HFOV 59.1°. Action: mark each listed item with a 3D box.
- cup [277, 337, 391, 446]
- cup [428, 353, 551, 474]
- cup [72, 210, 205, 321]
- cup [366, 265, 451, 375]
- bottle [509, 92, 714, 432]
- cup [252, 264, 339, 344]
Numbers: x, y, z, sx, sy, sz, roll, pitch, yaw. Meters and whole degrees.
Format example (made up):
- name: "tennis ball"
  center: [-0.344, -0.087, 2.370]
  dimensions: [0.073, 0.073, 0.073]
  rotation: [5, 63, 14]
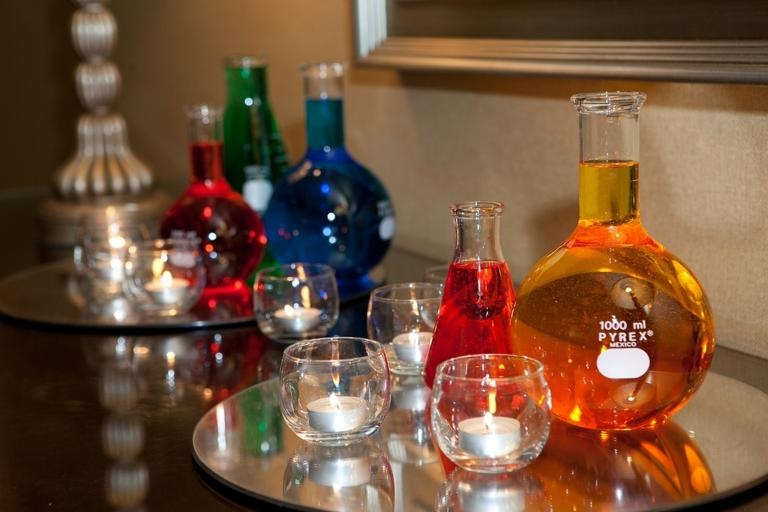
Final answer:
- name: "cup"
  center: [-0.051, 0.143, 0.718]
  dimensions: [0.127, 0.090, 0.122]
  rotation: [1, 6, 0]
- name: "cup"
  center: [0.095, 0.147, 0.622]
  dimensions: [0.101, 0.098, 0.081]
  rotation: [-6, 16, -18]
- name: "cup"
  center: [-0.411, -0.006, 1.109]
  dimensions: [0.149, 0.098, 0.247]
  rotation: [-8, 17, -31]
- name: "cup"
  center: [0.023, 0.085, 0.868]
  dimensions: [0.108, 0.085, 0.108]
  rotation: [-2, 6, 0]
- name: "bottle"
  center: [0.220, 0.008, 0.643]
  dimensions: [0.139, 0.315, 0.143]
  rotation: [-1, 15, 0]
- name: "cup"
  center: [-0.125, 0.075, 1.012]
  dimensions: [0.153, 0.111, 0.148]
  rotation: [-5, -6, 0]
